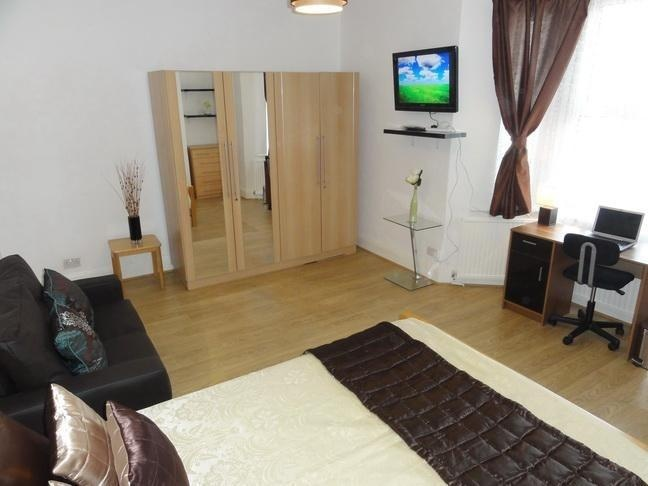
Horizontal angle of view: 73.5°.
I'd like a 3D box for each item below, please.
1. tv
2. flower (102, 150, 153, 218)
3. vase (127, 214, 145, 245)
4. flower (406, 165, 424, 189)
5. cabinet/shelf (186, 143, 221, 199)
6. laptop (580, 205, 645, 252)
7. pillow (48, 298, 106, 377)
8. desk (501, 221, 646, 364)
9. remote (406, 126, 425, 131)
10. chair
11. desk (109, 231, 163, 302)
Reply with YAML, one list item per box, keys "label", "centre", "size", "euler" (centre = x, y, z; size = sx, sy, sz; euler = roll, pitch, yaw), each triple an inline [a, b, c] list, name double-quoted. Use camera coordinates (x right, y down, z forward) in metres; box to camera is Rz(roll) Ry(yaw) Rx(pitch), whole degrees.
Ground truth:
- label: "tv"
  centre: [1.115, -1.758, 4.637]
  size: [0.084, 0.647, 0.807]
  euler: [-32, 33, -32]
- label: "flower"
  centre: [-2.301, -0.474, 5.119]
  size: [0.317, 0.574, 0.316]
  euler: [-11, 2, -2]
- label: "vase"
  centre: [-2.168, -0.163, 4.989]
  size: [0.136, 0.335, 0.192]
  euler: [-10, 21, -24]
- label: "flower"
  centre: [1.074, -0.751, 5.106]
  size: [0.183, 0.253, 0.331]
  euler: [3, 19, 13]
- label: "cabinet/shelf"
  centre: [-1.327, -0.802, 4.954]
  size: [0.339, 0.555, 0.221]
  euler: [-7, 28, -15]
- label: "laptop"
  centre: [2.760, -0.139, 4.112]
  size: [0.419, 0.297, 0.445]
  euler: [-22, 30, -34]
- label: "pillow"
  centre: [-1.730, 0.629, 3.030]
  size: [0.299, 0.472, 0.558]
  euler: [-3, 40, -34]
- label: "desk"
  centre: [2.424, 0.484, 4.148]
  size: [0.401, 0.818, 1.043]
  euler: [-13, 22, -36]
- label: "remote"
  centre: [1.037, -1.284, 4.878]
  size: [0.086, 0.047, 0.265]
  euler: [-17, 24, -39]
- label: "chair"
  centre: [2.538, 0.383, 4.091]
  size: [0.666, 1.044, 0.701]
  euler: [-10, 19, -29]
- label: "desk"
  centre: [-2.308, 0.087, 5.249]
  size: [0.599, 0.588, 0.602]
  euler: [-13, 48, -36]
